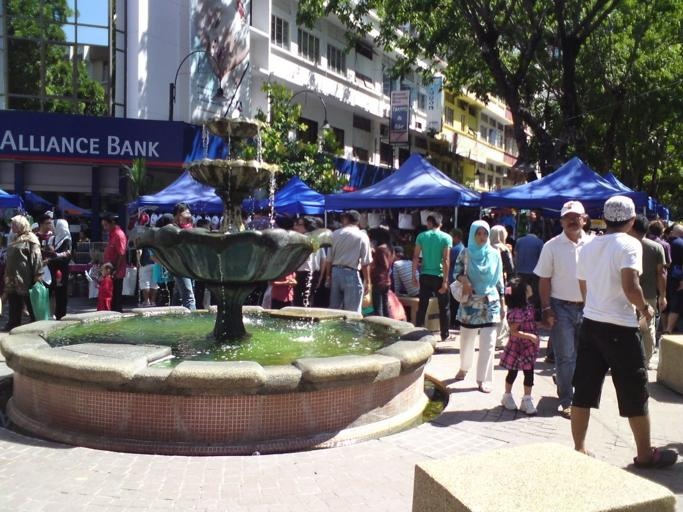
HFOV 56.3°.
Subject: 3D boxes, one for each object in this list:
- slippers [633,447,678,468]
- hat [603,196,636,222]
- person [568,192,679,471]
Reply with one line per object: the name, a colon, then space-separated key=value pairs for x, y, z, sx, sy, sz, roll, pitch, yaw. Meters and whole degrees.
slippers: x=2.789 y=1.807 z=5.719 sx=0.335 sy=0.164 sz=0.175 roll=-7 pitch=-4 yaw=0
hat: x=2.515 y=-0.419 z=5.835 sx=0.220 sy=0.207 sz=0.251 roll=3 pitch=11 yaw=21
person: x=2.539 y=0.674 z=5.741 sx=0.811 sy=2.312 sz=0.698 roll=5 pitch=13 yaw=11
